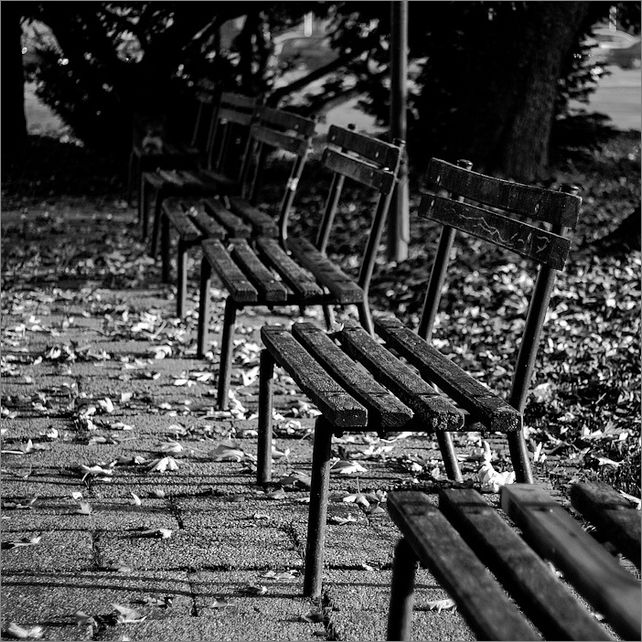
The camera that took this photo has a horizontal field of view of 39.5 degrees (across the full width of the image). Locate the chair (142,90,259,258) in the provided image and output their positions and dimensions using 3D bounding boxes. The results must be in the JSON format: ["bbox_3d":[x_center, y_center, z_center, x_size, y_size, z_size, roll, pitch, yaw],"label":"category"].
[{"bbox_3d":[-0.981,-1.173,6.986,0.578,1.271,1.569,2,17,-14],"label":"chair"}]

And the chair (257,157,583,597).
[{"bbox_3d":[0.253,0.156,3.372,0.862,1.421,1.778,1,8,-11],"label":"chair"}]

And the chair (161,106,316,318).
[{"bbox_3d":[-0.646,-0.787,6.184,0.637,1.300,1.823,-1,16,-15],"label":"chair"}]
